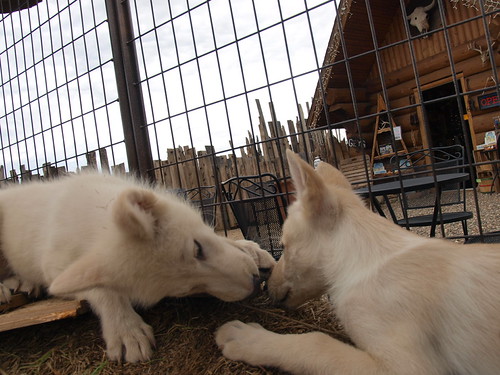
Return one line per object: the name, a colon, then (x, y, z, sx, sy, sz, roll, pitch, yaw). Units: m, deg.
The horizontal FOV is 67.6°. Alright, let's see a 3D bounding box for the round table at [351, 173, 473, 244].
round table: (1.637, -0.015, 3.846, 1.011, 0.780, 1.039, -15, 1, 0)
